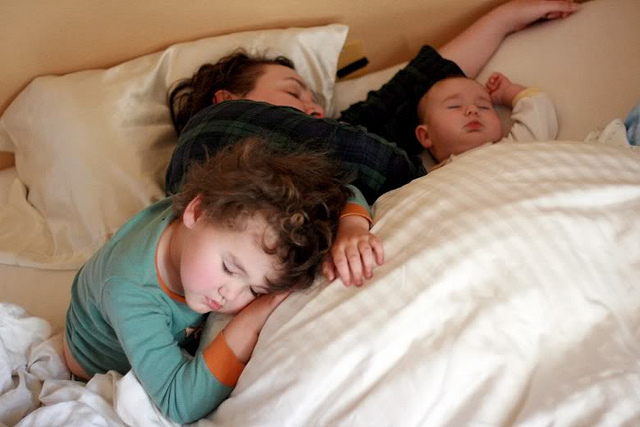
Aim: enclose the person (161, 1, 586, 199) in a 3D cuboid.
[{"bbox_3d":[0.172,-0.277,1.904,1.090,0.385,0.858,-30,31,15],"label":"person"}]
